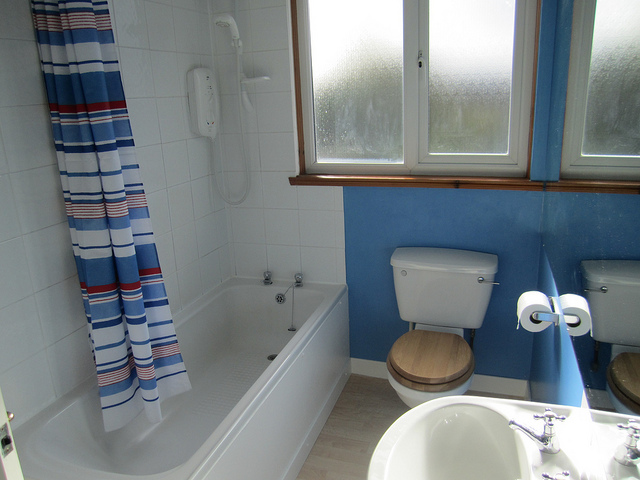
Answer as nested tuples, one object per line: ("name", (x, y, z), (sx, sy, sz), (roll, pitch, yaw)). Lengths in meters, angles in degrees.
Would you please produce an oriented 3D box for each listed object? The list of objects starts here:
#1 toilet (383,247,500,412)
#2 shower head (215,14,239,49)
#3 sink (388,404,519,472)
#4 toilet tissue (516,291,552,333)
("toilet", (0.642, 0.577, 2.658), (0.577, 0.933, 0.680), (4, 17, 20))
("shower head", (-0.518, -1.188, 2.787), (0.133, 0.220, 0.097), (-18, 27, -25))
("sink", (0.428, 0.641, 1.531), (0.240, 0.103, 0.226), (9, 52, 24))
("toilet tissue", (0.719, 0.252, 1.603), (0.100, 0.103, 0.114), (-4, -4, 28))
